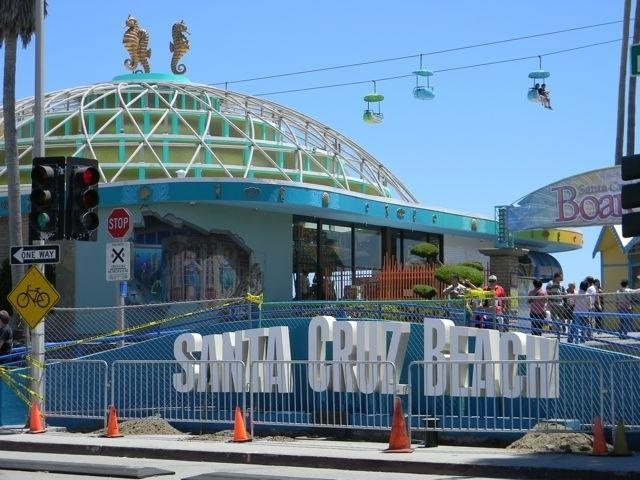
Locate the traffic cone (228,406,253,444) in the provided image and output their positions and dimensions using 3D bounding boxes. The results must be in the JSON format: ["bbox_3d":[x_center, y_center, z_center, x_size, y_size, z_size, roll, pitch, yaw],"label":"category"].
[{"bbox_3d":[-1.982,4.531,39.443,0.521,0.887,0.881,0,-6,-2],"label":"traffic cone"}]

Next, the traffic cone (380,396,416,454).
[{"bbox_3d":[1.912,4.382,38.017,0.666,1.301,1.003,0,-6,3],"label":"traffic cone"}]

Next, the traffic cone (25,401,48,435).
[{"bbox_3d":[-7.402,4.504,40.740,0.469,0.824,0.735,1,-6,-10],"label":"traffic cone"}]

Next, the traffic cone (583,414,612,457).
[{"bbox_3d":[6.726,4.576,37.494,0.432,0.912,1.231,-1,-6,10],"label":"traffic cone"}]

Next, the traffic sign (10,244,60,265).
[{"bbox_3d":[-7.384,0.317,40.416,1.471,0.509,0.471,-3,-7,25],"label":"traffic sign"}]

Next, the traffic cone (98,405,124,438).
[{"bbox_3d":[-5.280,4.560,40.395,0.730,0.976,0.699,-4,-3,44],"label":"traffic cone"}]

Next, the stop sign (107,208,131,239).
[{"bbox_3d":[-5.734,-0.506,44.564,0.932,1.134,0.144,0,-3,24],"label":"stop sign"}]

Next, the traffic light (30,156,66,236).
[{"bbox_3d":[-6.836,-1.077,39.373,0.618,2.497,0.500,-5,-5,31],"label":"traffic light"}]

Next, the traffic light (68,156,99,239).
[{"bbox_3d":[-5.995,-1.067,39.394,0.781,2.038,0.387,2,-6,-19],"label":"traffic light"}]

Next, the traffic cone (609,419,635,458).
[{"bbox_3d":[7.136,4.643,37.440,0.731,1.111,0.800,1,-12,-6],"label":"traffic cone"}]
